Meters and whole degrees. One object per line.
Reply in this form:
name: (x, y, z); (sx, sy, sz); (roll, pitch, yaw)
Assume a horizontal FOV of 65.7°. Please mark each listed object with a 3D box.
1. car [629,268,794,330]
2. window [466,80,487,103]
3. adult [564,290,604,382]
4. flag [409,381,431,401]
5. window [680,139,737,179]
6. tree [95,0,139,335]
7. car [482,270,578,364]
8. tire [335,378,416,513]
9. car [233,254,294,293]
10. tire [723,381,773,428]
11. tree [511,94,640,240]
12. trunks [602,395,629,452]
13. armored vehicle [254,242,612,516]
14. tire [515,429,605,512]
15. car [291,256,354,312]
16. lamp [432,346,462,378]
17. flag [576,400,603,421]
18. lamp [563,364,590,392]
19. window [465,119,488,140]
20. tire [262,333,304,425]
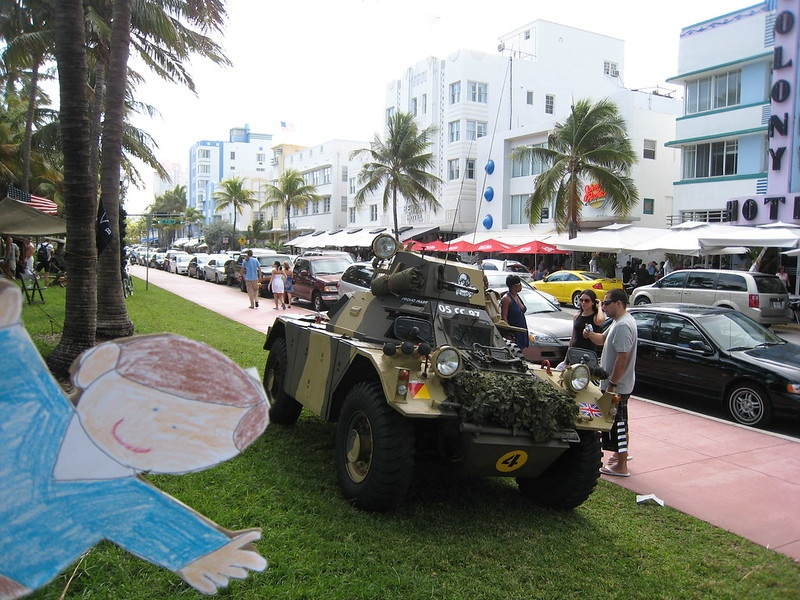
car: (8.159, -0.060, 16.035); (1.383, 1.346, 3.272); (5, 4, -28)
window: (5.307, -14.960, 44.066); (1.601, 1.668, 0.280); (0, -1, -29)
adult: (2.644, 0.623, 8.930); (0.475, 1.614, 0.368); (15, 30, 25)
flag: (0.174, 0.819, 5.625); (0.188, 0.116, 0.148); (3, 9, -10)
window: (14.517, -6.701, 29.072); (0.131, 1.381, 2.033); (-5, 10, -30)
tree: (-5.300, -2.477, 11.526); (0.649, 6.212, 1.793); (-1, 10, -24)
car: (2.957, 0.583, 13.627); (1.518, 1.478, 3.623); (1, 12, -13)
tire: (-0.222, 1.384, 5.797); (0.391, 1.381, 1.118); (4, -2, -27)
car: (-6.080, -1.288, 26.890); (1.642, 1.388, 3.358); (-2, 3, -28)
tire: (5.278, 1.569, 9.369); (0.179, 0.606, 0.533); (6, -14, -28)
tree: (9.241, -7.256, 30.622); (6.106, 8.073, 7.122); (-1, 5, -9)
trunks: (2.552, 1.390, 7.259); (0.209, 0.683, 0.276); (2, 6, -9)
armored vehicle: (0.113, 0.654, 7.276); (2.034, 2.640, 4.132); (4, -1, -25)
tire: (1.534, 1.653, 6.032); (0.261, 0.898, 0.770); (5, 4, -34)
car: (-2.689, -0.679, 21.244); (1.412, 1.313, 2.566); (-1, 1, -28)
lamp: (0.421, 0.572, 5.652); (0.199, 0.238, 0.083); (15, -6, -19)
flag: (1.815, 1.074, 5.995); (0.196, 0.159, 0.012); (4, -37, -21)
lamp: (1.728, 0.770, 6.095); (0.197, 0.220, 0.115); (19, -11, -31)
window: (5.457, -12.214, 44.331); (1.947, 1.462, 1.066); (-3, 11, -39)
tire: (-1.421, 0.981, 7.634); (0.275, 1.010, 0.889); (1, 13, -26)
